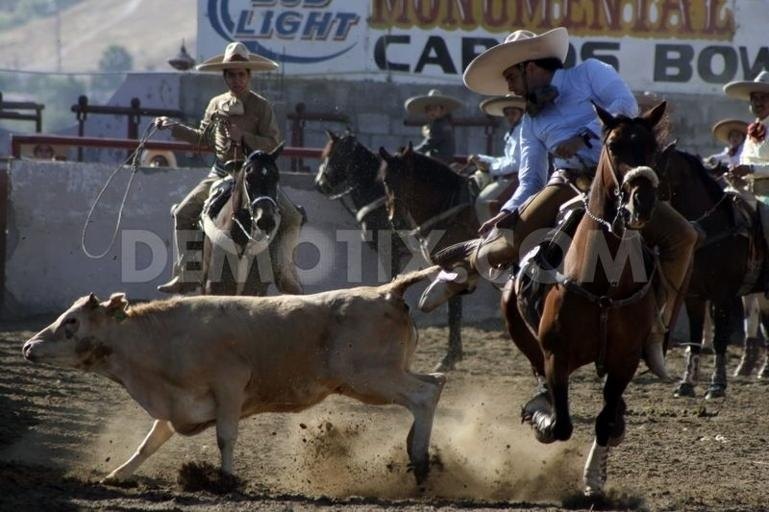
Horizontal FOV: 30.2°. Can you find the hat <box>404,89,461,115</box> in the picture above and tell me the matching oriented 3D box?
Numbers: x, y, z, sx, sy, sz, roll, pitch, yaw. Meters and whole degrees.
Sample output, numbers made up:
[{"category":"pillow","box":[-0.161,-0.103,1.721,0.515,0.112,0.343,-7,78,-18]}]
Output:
[{"category":"hat","box":[0.889,-2.833,25.984,0.585,0.212,0.645,2,-24,-13]}]

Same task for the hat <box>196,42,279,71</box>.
[{"category":"hat","box":[-2.392,-3.151,22.371,1.082,0.485,1.349,4,4,10]}]

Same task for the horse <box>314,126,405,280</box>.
[{"category":"horse","box":[-0.157,-0.887,22.997,0.675,2.077,2.623,-4,6,-44]}]
